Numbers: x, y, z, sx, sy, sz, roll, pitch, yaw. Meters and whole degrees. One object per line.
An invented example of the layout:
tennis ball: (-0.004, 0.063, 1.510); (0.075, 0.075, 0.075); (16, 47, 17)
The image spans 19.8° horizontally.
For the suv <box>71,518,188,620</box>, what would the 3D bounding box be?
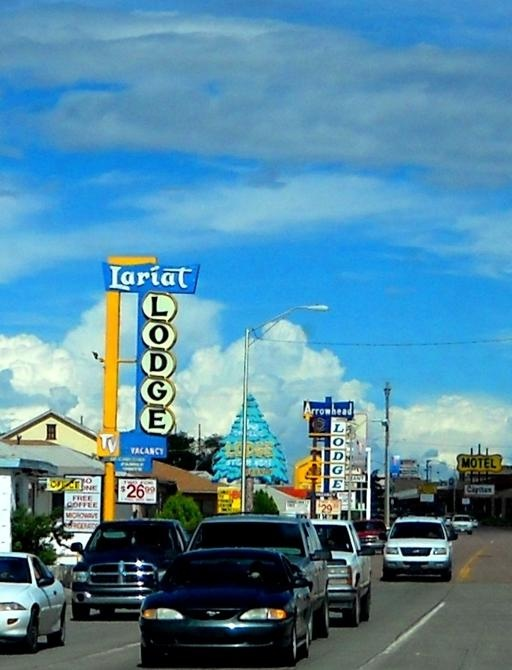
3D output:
suv: (-2.244, 4.065, 26.204); (1.382, 1.015, 2.505); (-2, -10, 4)

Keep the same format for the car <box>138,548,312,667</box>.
car: (-0.380, 3.442, 18.466); (2.075, 1.473, 1.757); (-1, -8, 0)

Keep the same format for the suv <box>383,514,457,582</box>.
suv: (4.152, 5.127, 36.892); (0.937, 0.801, 1.950); (2, -24, 39)

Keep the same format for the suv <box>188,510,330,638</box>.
suv: (0.177, 3.220, 21.347); (1.230, 1.102, 2.635); (-1, -12, 8)

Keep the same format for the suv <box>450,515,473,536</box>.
suv: (13.101, 12.138, 93.787); (1.258, 1.127, 2.601); (0, -14, 1)
